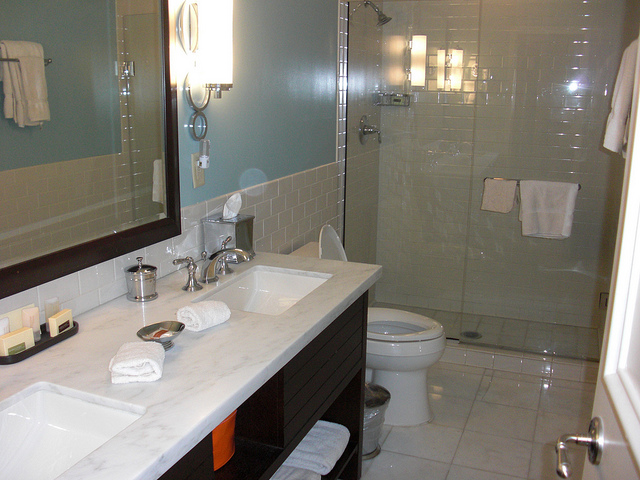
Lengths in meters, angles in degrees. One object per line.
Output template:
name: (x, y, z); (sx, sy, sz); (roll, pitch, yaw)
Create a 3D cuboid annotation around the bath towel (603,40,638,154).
bath towel: (1.763, -0.840, 2.994); (0.100, 0.633, 0.361); (10, 20, 28)

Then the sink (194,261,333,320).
sink: (-0.242, 0.206, 2.082); (0.545, 0.151, 0.238); (-9, 20, -26)

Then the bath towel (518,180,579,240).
bath towel: (1.557, -0.208, 3.530); (0.370, 0.404, 0.063); (7, 19, 20)

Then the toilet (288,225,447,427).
toilet: (0.326, 0.498, 3.032); (0.876, 1.065, 0.524); (-1, 9, 14)
